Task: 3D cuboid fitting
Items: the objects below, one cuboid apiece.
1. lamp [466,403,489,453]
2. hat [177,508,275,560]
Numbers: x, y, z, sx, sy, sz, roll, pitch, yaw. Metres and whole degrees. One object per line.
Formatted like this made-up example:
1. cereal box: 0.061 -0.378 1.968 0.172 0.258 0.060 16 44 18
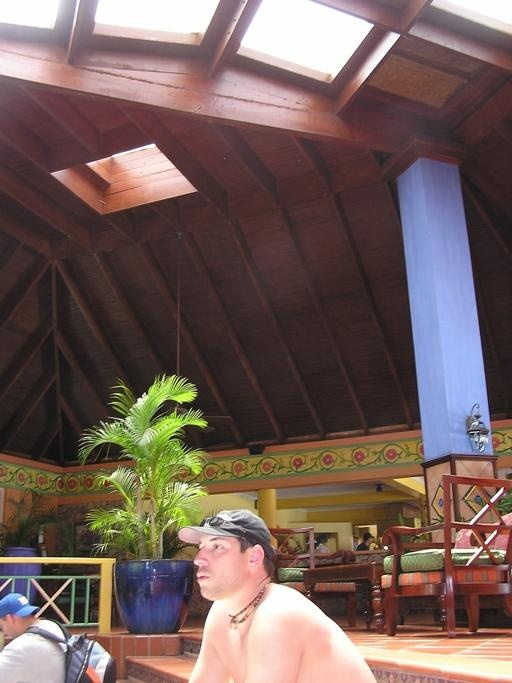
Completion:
1. lamp: 1.770 0.669 4.978 0.178 0.357 0.151 -8 -13 40
2. hat: -0.049 0.360 1.200 0.149 0.063 0.099 8 -21 -5
